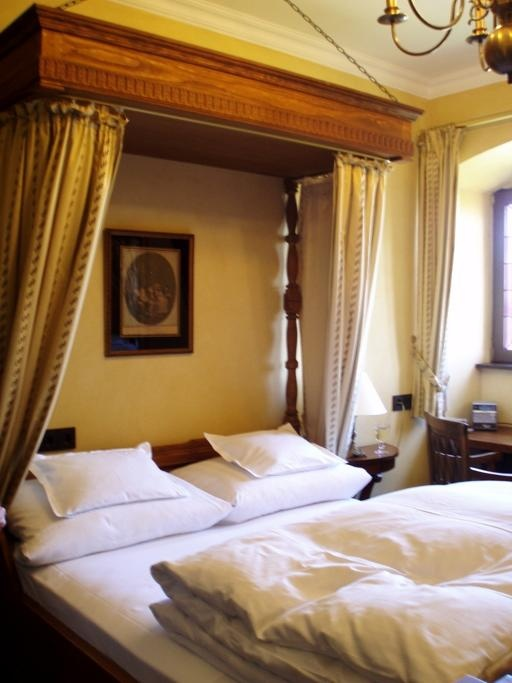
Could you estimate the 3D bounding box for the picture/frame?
[{"bbox_3d":[-0.526,-0.244,2.529,0.593,0.731,0.040,-3,5,-38],"label":"picture/frame"}]
